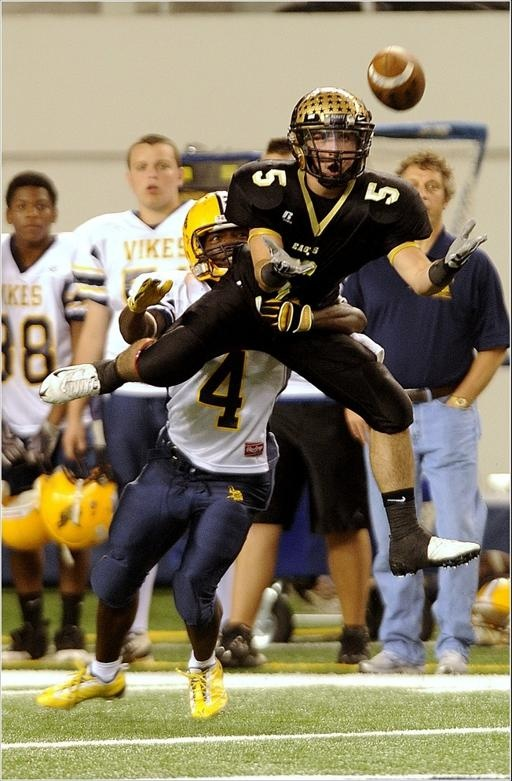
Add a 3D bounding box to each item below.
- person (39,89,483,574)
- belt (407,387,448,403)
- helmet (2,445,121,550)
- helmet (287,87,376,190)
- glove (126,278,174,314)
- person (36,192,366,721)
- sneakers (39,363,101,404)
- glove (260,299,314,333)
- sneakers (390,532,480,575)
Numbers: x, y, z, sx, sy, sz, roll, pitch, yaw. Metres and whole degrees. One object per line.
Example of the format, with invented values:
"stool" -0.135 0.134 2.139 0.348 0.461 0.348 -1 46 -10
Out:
"person" -0.015 -0.176 2.378 1.304 1.067 0.718 9 9 37
"belt" 0.543 0.013 3.092 0.119 0.034 0.079 -1 6 -11
"helmet" -0.677 0.382 3.290 0.322 0.207 0.423 8 -10 -30
"helmet" 0.175 -0.607 2.299 0.193 0.283 0.192 -1 -3 2
"glove" -0.246 -0.208 2.215 0.075 0.024 0.094 5 -31 -37
"person" -0.195 0.166 2.346 0.832 1.313 0.634 3 2 10
"sneakers" -0.459 -0.018 2.461 0.165 0.074 0.060 -10 -14 -8
"glove" 0.063 -0.168 2.144 0.072 0.047 0.153 -5 6 -8
"sneakers" 0.394 0.380 2.270 0.239 0.086 0.085 -13 -14 29
